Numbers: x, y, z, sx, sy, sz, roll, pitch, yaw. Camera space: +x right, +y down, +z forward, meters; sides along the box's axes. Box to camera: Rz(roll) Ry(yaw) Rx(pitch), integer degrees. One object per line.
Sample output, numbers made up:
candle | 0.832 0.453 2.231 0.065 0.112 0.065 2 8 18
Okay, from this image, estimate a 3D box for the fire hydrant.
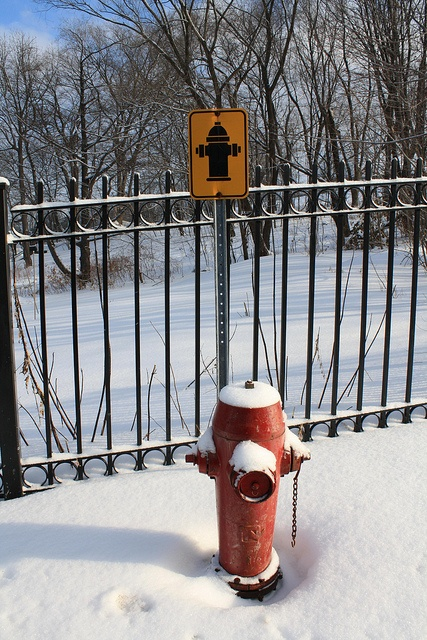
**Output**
fire hydrant | 0.166 0.833 4.276 0.590 1.070 0.307 -2 11 5
